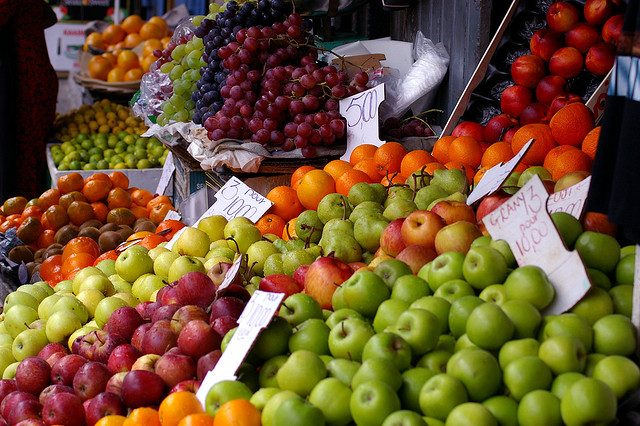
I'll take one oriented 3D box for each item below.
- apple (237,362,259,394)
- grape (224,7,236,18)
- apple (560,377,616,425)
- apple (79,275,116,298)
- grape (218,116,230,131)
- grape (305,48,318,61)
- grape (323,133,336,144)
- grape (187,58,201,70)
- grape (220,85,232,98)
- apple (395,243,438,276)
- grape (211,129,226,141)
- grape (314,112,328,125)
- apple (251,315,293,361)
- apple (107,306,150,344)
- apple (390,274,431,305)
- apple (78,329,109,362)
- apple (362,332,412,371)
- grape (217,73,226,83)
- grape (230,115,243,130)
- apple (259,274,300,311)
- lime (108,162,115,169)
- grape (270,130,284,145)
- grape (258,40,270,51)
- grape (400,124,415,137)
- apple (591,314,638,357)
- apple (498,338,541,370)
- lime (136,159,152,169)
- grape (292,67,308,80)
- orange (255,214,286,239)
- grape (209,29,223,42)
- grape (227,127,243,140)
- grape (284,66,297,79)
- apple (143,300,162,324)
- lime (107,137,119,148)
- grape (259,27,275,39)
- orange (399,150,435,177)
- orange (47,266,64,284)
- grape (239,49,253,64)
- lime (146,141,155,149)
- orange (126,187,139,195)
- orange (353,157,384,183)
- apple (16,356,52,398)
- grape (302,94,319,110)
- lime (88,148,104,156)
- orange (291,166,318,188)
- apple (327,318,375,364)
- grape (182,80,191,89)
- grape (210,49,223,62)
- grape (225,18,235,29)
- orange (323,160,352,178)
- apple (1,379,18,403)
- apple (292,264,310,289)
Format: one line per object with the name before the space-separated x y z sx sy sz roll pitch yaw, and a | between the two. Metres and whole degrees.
apple | -0.255 0.585 1.973 0.064 0.077 0.092 -16 12 -11
grape | -0.596 -1.313 3.656 0.067 0.065 0.058 -12 -14 -29
apple | 0.832 0.608 1.764 0.130 0.158 0.140 13 -26 -24
apple | -1.087 0.354 2.702 0.108 0.132 0.139 1 -9 -17
grape | -0.595 -0.551 3.438 0.065 0.071 0.087 -18 47 5
grape | -0.051 -1.057 3.688 0.070 0.099 0.077 6 -7 20
grape | 0.058 -0.458 3.458 0.055 0.077 0.057 4 4 39
grape | -0.903 -1.057 3.943 0.110 0.086 0.048 16 34 32
grape | -0.598 -0.761 3.521 0.060 0.088 0.068 2 6 -3
apple | 0.408 0.189 2.245 0.112 0.146 0.131 -1 -6 2
grape | -0.629 -0.477 3.426 0.063 0.088 0.069 17 6 1
grape | 0.005 -0.572 3.407 0.075 0.076 0.067 17 -23 -10
apple | -0.152 0.461 2.041 0.125 0.180 0.140 0 -25 14
apple | -0.782 0.452 2.281 0.148 0.152 0.131 -1 -28 -30
apple | 0.341 0.288 2.078 0.121 0.117 0.110 -9 31 -19
apple | -0.934 0.539 2.235 0.103 0.117 0.123 -4 -15 41
apple | 0.237 0.459 1.868 0.127 0.132 0.121 35 -10 -30
grape | -0.642 -0.878 3.612 0.035 0.056 0.048 7 5 -20
grape | -0.520 -0.554 3.486 0.074 0.093 0.071 16 6 43
apple | -0.178 0.319 2.312 0.099 0.115 0.138 6 45 11
lime | -2.101 -0.472 5.604 0.058 0.085 0.064 -4 2 -4
grape | -0.267 -0.462 3.428 0.069 0.091 0.084 10 53 9
grape | -0.360 -1.068 3.549 0.051 0.065 0.051 33 42 30
grape | 0.584 -0.537 3.661 0.061 0.075 0.090 -5 2 1
apple | 0.993 0.410 1.898 0.121 0.150 0.134 -3 4 1
apple | 0.669 0.519 1.875 0.120 0.136 0.121 13 -12 15
lime | -1.774 -0.470 5.527 0.150 0.094 0.131 0 30 8
grape | -0.130 -0.875 3.488 0.080 0.080 0.072 2 -13 -29
orange | -0.271 0.074 3.040 0.121 0.121 0.128 34 58 3
grape | -0.699 -1.188 3.692 0.064 0.085 0.070 -10 34 -17
grape | -0.540 -0.490 3.502 0.072 0.081 0.088 -16 -13 -32
grape | -0.182 -0.885 3.570 0.065 0.095 0.072 -12 -7 13
apple | -0.727 0.428 2.430 0.070 0.095 0.087 15 40 -9
lime | -2.260 -0.757 6.015 0.094 0.114 0.125 7 -21 -7
grape | -0.336 -1.129 3.504 0.078 0.082 0.075 8 5 20
orange | 0.535 -0.300 3.045 0.143 0.159 0.152 0 40 40
orange | -1.563 0.371 3.271 0.085 0.125 0.061 -9 1 -32
grape | -0.468 -0.980 3.497 0.084 0.091 0.055 -10 28 -10
lime | -1.790 -0.703 5.856 0.071 0.101 0.076 7 5 27
orange | -1.487 -0.175 4.392 0.053 0.061 0.055 -13 1 44
orange | 0.280 -0.215 3.215 0.128 0.144 0.138 -20 -19 18
apple | -1.136 0.635 2.230 0.127 0.163 0.129 -7 31 -46
grape | -0.057 -0.689 3.485 0.091 0.083 0.091 1 30 10
lime | -2.346 -0.604 5.768 0.088 0.107 0.097 -8 -26 40
orange | -0.093 -0.229 3.288 0.105 0.136 0.120 19 67 14
apple | 0.105 0.437 1.985 0.129 0.182 0.134 12 -4 38
grape | -0.943 -0.905 3.931 0.052 0.065 0.051 -32 47 -22
grape | -0.679 -1.028 3.671 0.069 0.097 0.075 1 4 3
grape | -0.593 -1.240 3.642 0.054 0.063 0.060 3 2 0
orange | 0.098 -0.237 3.215 0.120 0.111 0.117 3 58 4
apple | -1.253 0.714 2.219 0.057 0.084 0.065 0 3 15
apple | -0.082 0.270 2.389 0.068 0.080 0.091 -9 28 33
